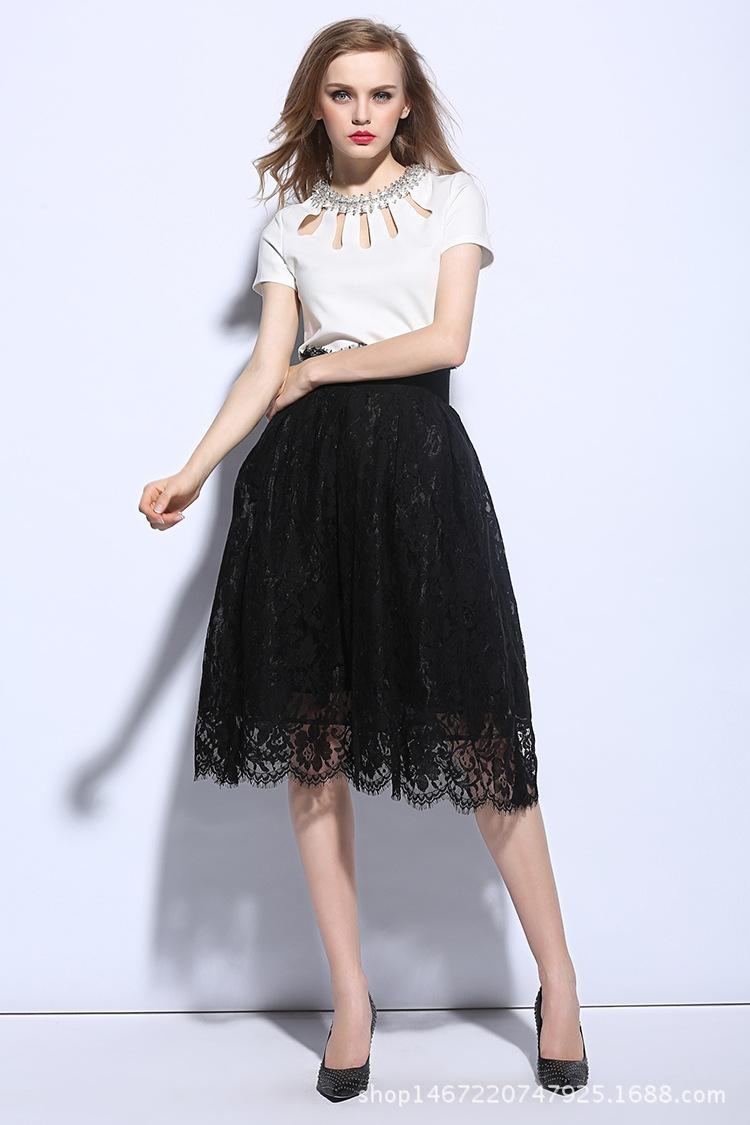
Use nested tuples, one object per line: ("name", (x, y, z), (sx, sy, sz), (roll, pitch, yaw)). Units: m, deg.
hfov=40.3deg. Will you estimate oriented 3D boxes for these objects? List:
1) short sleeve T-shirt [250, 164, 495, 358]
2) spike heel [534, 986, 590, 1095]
("short sleeve T-shirt", (-0.007, -0.450, 1.514), (0.352, 0.313, 0.126), (-5, -17, 14))
("spike heel", (0.269, 0.709, 1.483), (0.074, 0.032, 0.199), (-1, 3, 8))
